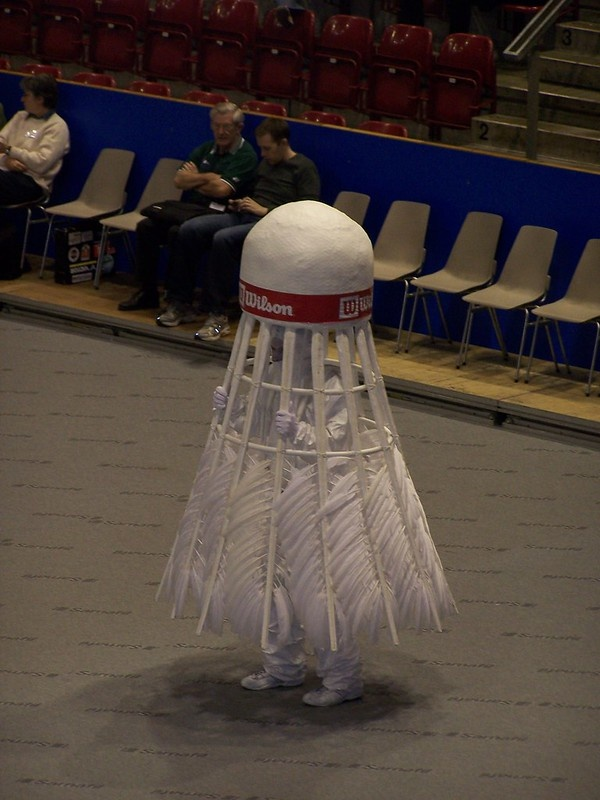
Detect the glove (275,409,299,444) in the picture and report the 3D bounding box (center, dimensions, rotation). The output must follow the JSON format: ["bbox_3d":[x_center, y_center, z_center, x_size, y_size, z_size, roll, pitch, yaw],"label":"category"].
[{"bbox_3d":[-0.030,0.072,2.341,0.059,0.057,0.104,7,3,16],"label":"glove"}]

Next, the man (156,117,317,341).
[{"bbox_3d":[-0.514,-1.275,6.195,1.064,1.446,0.711,-32,41,-31],"label":"man"}]

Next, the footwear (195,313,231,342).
[{"bbox_3d":[-0.592,-0.475,5.964,0.125,0.136,0.309,15,16,26],"label":"footwear"}]

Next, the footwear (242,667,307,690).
[{"bbox_3d":[-0.085,0.853,2.711,0.208,0.066,0.064,2,2,-4],"label":"footwear"}]

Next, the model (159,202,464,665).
[{"bbox_3d":[0.075,0.114,2.457,0.598,0.864,0.526,5,4,-28],"label":"model"}]

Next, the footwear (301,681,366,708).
[{"bbox_3d":[0.090,0.868,2.566,0.188,0.062,0.058,-1,11,-20],"label":"footwear"}]
